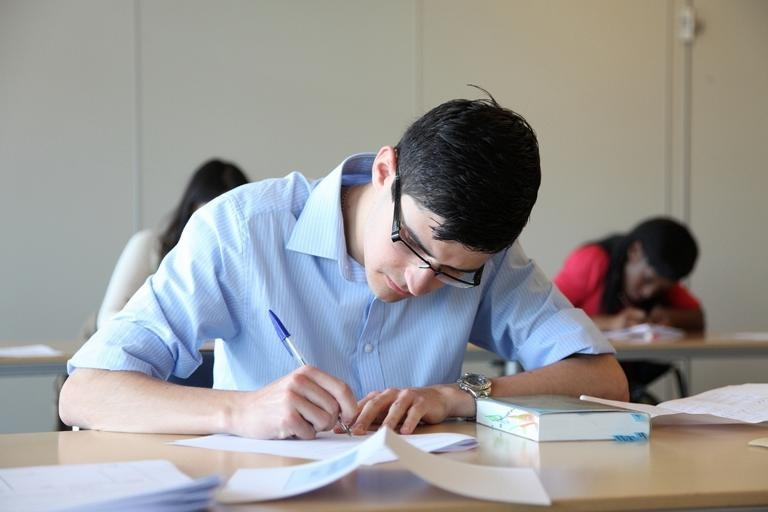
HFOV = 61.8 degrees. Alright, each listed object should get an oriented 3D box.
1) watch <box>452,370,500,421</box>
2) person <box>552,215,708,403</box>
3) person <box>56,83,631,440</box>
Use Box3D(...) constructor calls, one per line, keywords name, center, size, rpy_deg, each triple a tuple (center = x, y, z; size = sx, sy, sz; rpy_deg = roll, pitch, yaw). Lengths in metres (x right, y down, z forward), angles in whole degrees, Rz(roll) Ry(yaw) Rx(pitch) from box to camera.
Box3D(name="watch", center=(0.209, 0.321, 1.473), size=(0.105, 0.107, 0.069), rpy_deg=(2, 12, -18))
Box3D(name="person", center=(1.234, 0.461, 3.295), size=(0.749, 1.202, 0.623), rpy_deg=(-1, -6, 45))
Box3D(name="person", center=(-0.283, -0.031, 2.048), size=(1.645, 0.936, 0.941), rpy_deg=(7, -12, -22))
